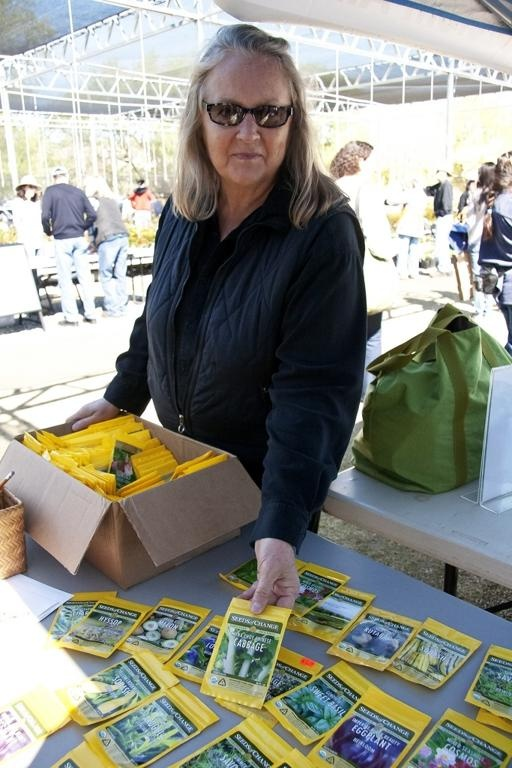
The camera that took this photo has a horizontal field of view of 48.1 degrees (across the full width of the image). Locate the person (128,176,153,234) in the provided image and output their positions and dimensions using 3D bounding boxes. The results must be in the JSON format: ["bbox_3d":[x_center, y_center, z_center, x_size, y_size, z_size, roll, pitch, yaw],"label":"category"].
[{"bbox_3d":[-2.398,-3.754,12.028,0.460,1.203,0.435,-9,50,-15],"label":"person"}]

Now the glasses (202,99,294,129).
[{"bbox_3d":[-0.017,-0.547,1.164,0.174,0.058,0.051,1,9,3],"label":"glasses"}]
